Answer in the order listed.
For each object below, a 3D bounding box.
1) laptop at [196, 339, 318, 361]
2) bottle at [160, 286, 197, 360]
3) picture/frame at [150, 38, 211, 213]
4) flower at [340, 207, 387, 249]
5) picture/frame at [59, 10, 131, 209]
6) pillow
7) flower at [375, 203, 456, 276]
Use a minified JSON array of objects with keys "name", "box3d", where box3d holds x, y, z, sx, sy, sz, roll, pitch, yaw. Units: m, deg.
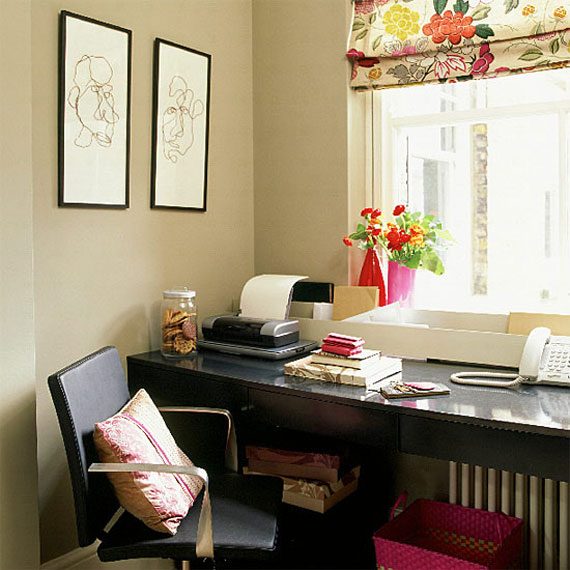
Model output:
[{"name":"laptop","box3d":[-0.129,0.264,2.173,0.265,0.027,0.163,1,3,36]},{"name":"bottle","box3d":[-0.444,0.158,2.246,0.153,0.269,0.157,1,4,0]},{"name":"picture/frame","box3d":[-0.458,-0.684,2.368,0.076,0.715,0.376,5,11,31]},{"name":"flower","box3d":[0.356,-0.234,2.430,0.192,0.103,0.197,-3,20,13]},{"name":"picture/frame","box3d":[-0.722,-0.644,2.042,0.062,0.695,0.357,6,12,33]},{"name":"pillow","box3d":[-0.380,0.531,1.615,0.241,0.303,0.433,5,0,3]},{"name":"flower","box3d":[0.591,-0.180,2.387,0.302,0.310,0.159,34,26,35]}]
